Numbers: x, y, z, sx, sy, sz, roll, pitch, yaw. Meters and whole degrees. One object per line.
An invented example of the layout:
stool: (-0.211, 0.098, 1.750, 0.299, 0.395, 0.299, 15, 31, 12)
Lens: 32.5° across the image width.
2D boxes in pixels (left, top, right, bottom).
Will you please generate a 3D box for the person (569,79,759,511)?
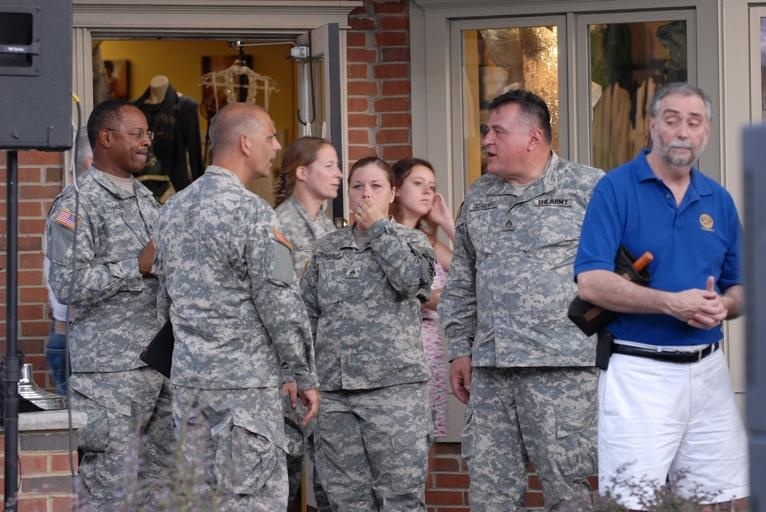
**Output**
person: (1.277, 0.177, 6.095, 0.749, 1.939, 0.351, -2, 1, 14)

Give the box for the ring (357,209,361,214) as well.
ring: (-0.126, -0.230, 6.796, 0.024, 0.019, 0.006, 6, -4, 30)
